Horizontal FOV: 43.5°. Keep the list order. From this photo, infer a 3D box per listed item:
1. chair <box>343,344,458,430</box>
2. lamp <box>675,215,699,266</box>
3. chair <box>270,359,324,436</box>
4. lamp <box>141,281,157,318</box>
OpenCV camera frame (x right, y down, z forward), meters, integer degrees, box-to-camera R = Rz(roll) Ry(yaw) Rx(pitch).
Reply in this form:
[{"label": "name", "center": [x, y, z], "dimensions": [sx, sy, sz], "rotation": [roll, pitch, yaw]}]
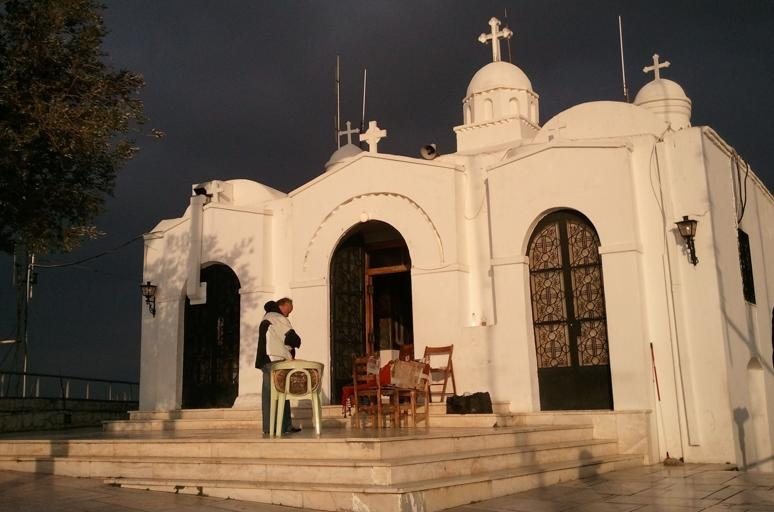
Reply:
[{"label": "chair", "center": [0.255, 2.635, 19.426], "dimensions": [1.319, 1.423, 2.327], "rotation": [-6, -14, 24]}, {"label": "lamp", "center": [6.087, -0.332, 19.723], "dimensions": [0.508, 0.986, 0.340], "rotation": [5, 4, 15]}, {"label": "chair", "center": [-1.674, 2.502, 17.479], "dimensions": [1.260, 1.680, 1.207], "rotation": [1, -5, -5]}, {"label": "lamp", "center": [-5.927, 1.079, 24.111], "dimensions": [0.366, 0.806, 0.273], "rotation": [3, 4, -7]}]
